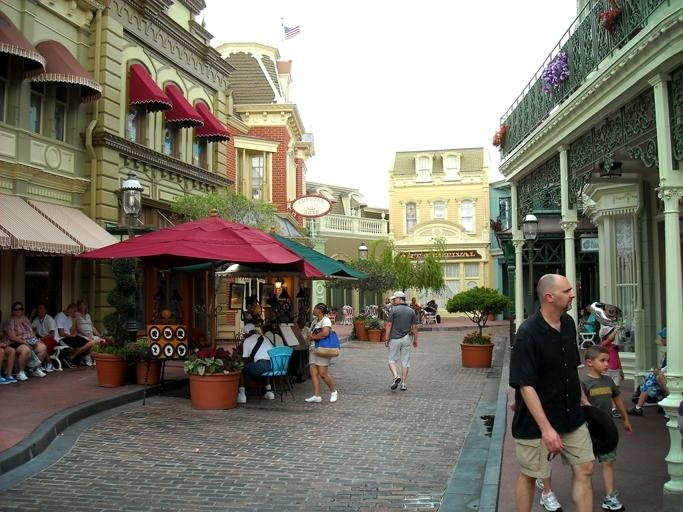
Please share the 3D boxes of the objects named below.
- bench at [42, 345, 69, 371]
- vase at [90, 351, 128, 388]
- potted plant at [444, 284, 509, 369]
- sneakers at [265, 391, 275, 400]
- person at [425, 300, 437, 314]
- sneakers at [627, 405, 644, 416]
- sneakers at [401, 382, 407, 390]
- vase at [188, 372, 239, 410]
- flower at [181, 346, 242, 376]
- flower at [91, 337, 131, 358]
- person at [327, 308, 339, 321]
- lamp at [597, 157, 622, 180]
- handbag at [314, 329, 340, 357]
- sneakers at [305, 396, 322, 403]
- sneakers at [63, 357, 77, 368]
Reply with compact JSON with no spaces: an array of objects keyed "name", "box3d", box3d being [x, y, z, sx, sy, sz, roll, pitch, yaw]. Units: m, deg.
[{"name":"bench","box3d":[-6.507,2.359,13.915,0.461,0.575,0.522,-1,-6,4]},{"name":"vase","box3d":[-4.533,2.243,11.840,0.633,0.501,0.632,1,-9,-6]},{"name":"potted plant","box3d":[4.075,2.123,17.603,2.035,2.816,2.448,-1,1,8]},{"name":"sneakers","box3d":[-1.392,2.732,11.742,0.124,0.138,0.207,1,4,-1]},{"name":"person","box3d":[5.758,3.310,38.540,0.623,0.953,1.366,-3,-7,22]},{"name":"sneakers","box3d":[4.686,2.495,9.635,0.094,0.107,0.250,-2,1,-39]},{"name":"sneakers","box3d":[1.324,2.805,12.863,0.129,0.155,0.388,-2,-10,5]},{"name":"vase","box3d":[-2.248,2.340,10.675,0.706,0.442,0.721,-4,-6,31]},{"name":"flower","box3d":[-2.175,1.886,10.711,0.640,0.293,0.649,1,-1,20]},{"name":"flower","box3d":[-4.501,1.830,11.928,0.483,0.276,0.491,4,1,34]},{"name":"person","box3d":[-0.454,3.362,33.465,0.706,0.441,0.929,-1,1,0]},{"name":"lamp","box3d":[4.662,-1.552,10.491,0.470,0.230,0.472,-2,2,1]},{"name":"handbag","box3d":[-0.296,1.656,11.339,0.602,0.757,0.362,2,-16,-8]},{"name":"sneakers","box3d":[-0.518,2.754,11.488,0.329,0.140,0.120,2,-7,3]},{"name":"sneakers","box3d":[-6.430,2.559,14.321,0.367,0.157,0.136,18,2,4]}]
